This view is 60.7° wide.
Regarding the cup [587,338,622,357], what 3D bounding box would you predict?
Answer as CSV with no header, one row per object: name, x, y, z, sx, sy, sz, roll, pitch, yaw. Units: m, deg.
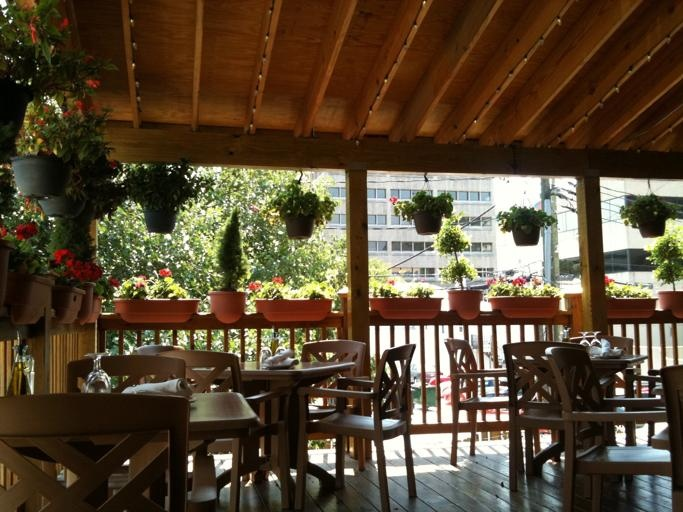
cup,1.908,0.678,4.249,0.244,0.107,0.262,1,-3,0

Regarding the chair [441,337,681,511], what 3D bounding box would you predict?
chair,1.387,1.113,3.762,0.495,0.697,1.352,-1,-3,-13
